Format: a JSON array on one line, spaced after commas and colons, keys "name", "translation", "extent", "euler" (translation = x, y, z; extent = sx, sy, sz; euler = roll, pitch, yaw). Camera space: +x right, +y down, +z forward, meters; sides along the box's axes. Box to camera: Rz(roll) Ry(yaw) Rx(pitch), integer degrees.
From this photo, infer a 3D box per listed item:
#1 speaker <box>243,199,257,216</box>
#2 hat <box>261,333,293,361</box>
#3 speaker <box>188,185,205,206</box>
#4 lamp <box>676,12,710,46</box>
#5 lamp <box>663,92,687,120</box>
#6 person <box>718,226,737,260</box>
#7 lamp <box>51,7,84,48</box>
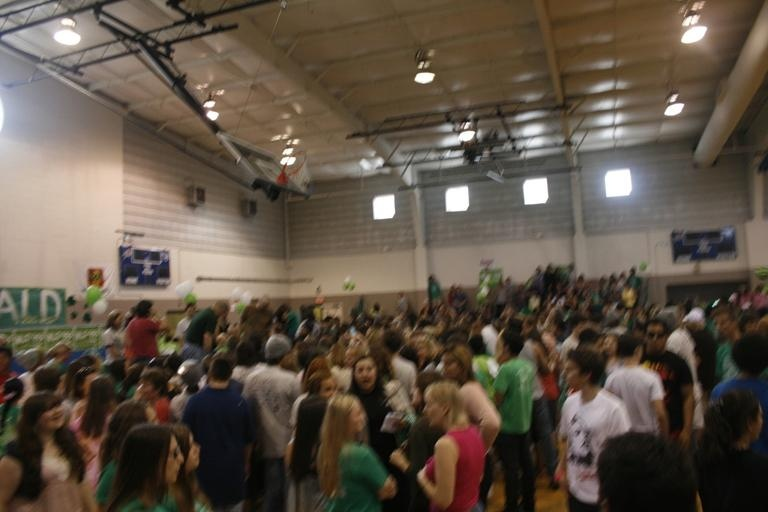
[{"name": "speaker", "translation": [-4.964, -1.867, 18.724], "extent": [0.193, 0.512, 0.573], "euler": [-4, -10, 13]}, {"name": "hat", "translation": [-1.105, 0.938, 5.291], "extent": [0.211, 0.298, 0.282], "euler": [5, 2, -27]}, {"name": "speaker", "translation": [-6.047, -2.006, 16.283], "extent": [0.268, 0.552, 0.555], "euler": [-4, -16, 14]}, {"name": "lamp", "translation": [5.885, -4.440, 9.618], "extent": [0.338, 0.541, 0.512], "euler": [-3, -8, 31]}, {"name": "lamp", "translation": [8.390, -4.429, 14.565], "extent": [0.213, 0.564, 0.844], "euler": [24, 26, 17]}, {"name": "person", "translation": [11.743, -0.485, 17.221], "extent": [0.493, 1.022, 0.177], "euler": [-1, -6, 12]}, {"name": "lamp", "translation": [-5.888, -4.319, 9.430], "extent": [0.344, 0.726, 0.732], "euler": [5, -8, -35]}]
